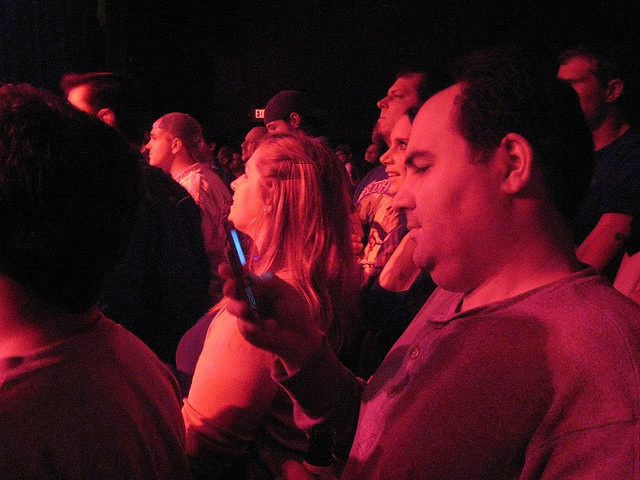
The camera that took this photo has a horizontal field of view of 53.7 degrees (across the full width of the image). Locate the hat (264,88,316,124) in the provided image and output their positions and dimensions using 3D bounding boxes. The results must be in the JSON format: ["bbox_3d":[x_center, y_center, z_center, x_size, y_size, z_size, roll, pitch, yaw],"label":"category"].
[{"bbox_3d":[-0.208,-0.853,4.075,0.253,0.152,0.192,-19,16,0],"label":"hat"}]

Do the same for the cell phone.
[{"bbox_3d":[-0.234,0.089,1.907,0.031,0.171,0.305,-18,-23,-12],"label":"cell phone"}]

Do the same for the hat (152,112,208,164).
[{"bbox_3d":[-0.879,-0.711,4.238,0.362,0.290,0.267,32,2,-31],"label":"hat"}]
